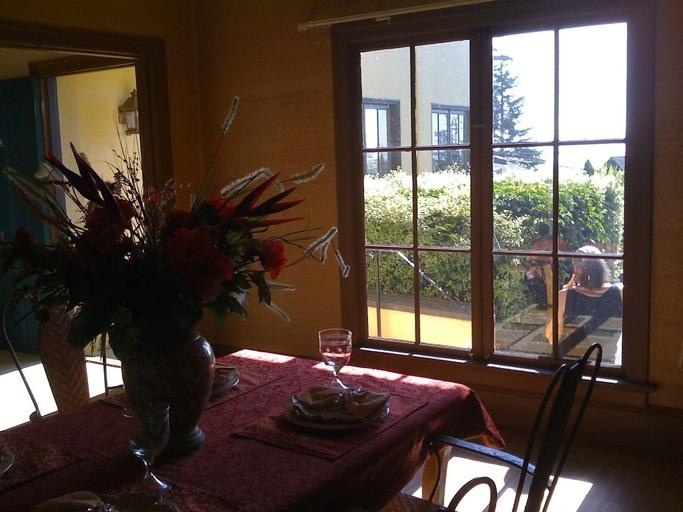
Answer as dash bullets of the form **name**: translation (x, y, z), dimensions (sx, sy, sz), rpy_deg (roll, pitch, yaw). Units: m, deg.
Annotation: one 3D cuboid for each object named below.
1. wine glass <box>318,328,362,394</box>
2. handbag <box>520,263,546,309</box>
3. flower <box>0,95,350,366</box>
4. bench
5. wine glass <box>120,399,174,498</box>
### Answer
- **wine glass**: translation (-0.018, 0.358, 1.978), dimensions (0.187, 0.295, 0.180), rpy_deg (-2, 6, -6)
- **handbag**: translation (1.117, 0.181, 3.155), dimensions (0.164, 0.224, 0.057), rpy_deg (7, 12, 44)
- **flower**: translation (-0.740, -0.132, 1.914), dimensions (0.902, 0.814, 1.501), rpy_deg (-7, 13, -36)
- **bench**: translation (1.258, 0.456, 3.074), dimensions (0.493, 0.360, 0.116), rpy_deg (3, 6, 28)
- **wine glass**: translation (-0.479, 0.483, 1.348), dimensions (0.102, 0.272, 0.336), rpy_deg (-3, 11, -19)
